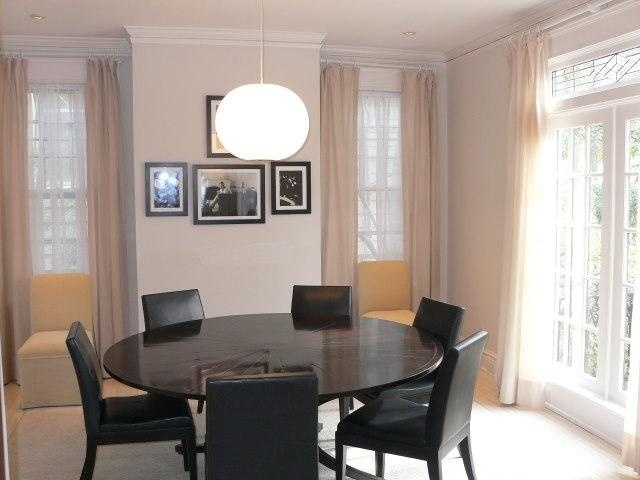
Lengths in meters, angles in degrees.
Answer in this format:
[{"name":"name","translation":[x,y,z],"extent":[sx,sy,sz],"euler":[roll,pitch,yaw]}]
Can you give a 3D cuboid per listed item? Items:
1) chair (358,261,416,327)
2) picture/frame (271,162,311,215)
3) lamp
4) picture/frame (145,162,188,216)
[{"name":"chair","translation":[0.683,0.549,5.524],"extent":[0.546,1.049,0.592],"euler":[-1,1,-12]},{"name":"picture/frame","translation":[-0.304,-0.529,5.192],"extent":[0.478,0.685,0.051],"euler":[1,0,-14]},{"name":"lamp","translation":[-0.398,-0.782,3.146],"extent":[0.479,1.214,0.494],"euler":[12,19,35]},{"name":"picture/frame","translation":[-1.472,-0.498,4.964],"extent":[0.462,0.665,0.047],"euler":[0,2,-11]}]
